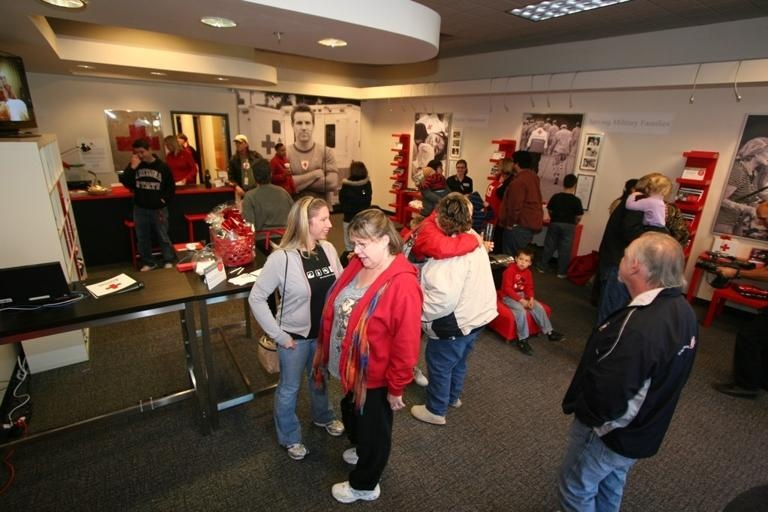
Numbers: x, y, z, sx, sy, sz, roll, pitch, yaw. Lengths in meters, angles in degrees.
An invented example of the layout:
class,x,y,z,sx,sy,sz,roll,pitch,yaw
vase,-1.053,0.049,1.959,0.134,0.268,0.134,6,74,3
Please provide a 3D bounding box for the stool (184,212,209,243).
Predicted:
class,x,y,z,sx,sy,sz,roll,pitch,yaw
stool,-2.992,-0.477,7.584,0.374,0.498,0.508,2,7,-6

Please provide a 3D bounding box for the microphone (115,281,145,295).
class,x,y,z,sx,sy,sz,roll,pitch,yaw
microphone,-2.338,0.291,4.426,0.229,0.073,0.074,-22,35,-29

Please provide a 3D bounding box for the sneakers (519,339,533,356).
class,x,y,z,sx,sy,sz,roll,pitch,yaw
sneakers,1.705,1.081,5.757,0.100,0.089,0.196,-5,11,-15

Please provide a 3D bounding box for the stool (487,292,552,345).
class,x,y,z,sx,sy,sz,roll,pitch,yaw
stool,1.574,0.765,6.080,0.577,0.272,0.576,-3,18,-13

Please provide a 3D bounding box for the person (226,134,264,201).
class,x,y,z,sx,sy,sz,roll,pitch,yaw
person,-2.333,-1.280,8.143,0.571,1.498,0.418,-12,31,-26

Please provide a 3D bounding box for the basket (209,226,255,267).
class,x,y,z,sx,sy,sz,roll,pitch,yaw
basket,-1.504,-0.086,4.781,0.381,0.285,0.384,1,10,-1

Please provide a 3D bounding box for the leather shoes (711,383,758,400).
class,x,y,z,sx,sy,sz,roll,pitch,yaw
leather shoes,3.858,1.443,5.320,0.430,0.174,0.161,4,3,27

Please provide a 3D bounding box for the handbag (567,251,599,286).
class,x,y,z,sx,sy,sz,roll,pitch,yaw
handbag,3.100,0.187,7.493,0.429,0.530,0.204,19,-13,48

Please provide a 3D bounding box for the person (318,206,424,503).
class,x,y,z,sx,sy,sz,roll,pitch,yaw
person,-0.125,0.888,4.074,0.864,2.549,0.601,1,17,4
